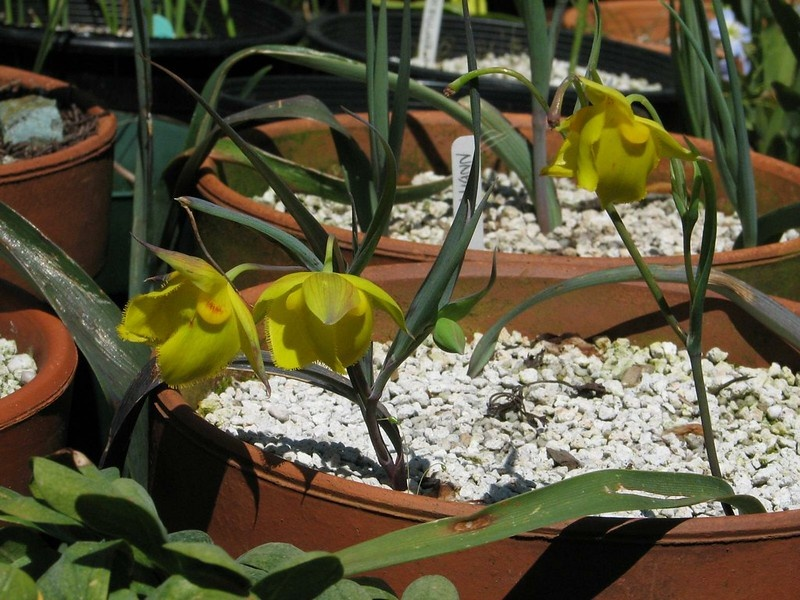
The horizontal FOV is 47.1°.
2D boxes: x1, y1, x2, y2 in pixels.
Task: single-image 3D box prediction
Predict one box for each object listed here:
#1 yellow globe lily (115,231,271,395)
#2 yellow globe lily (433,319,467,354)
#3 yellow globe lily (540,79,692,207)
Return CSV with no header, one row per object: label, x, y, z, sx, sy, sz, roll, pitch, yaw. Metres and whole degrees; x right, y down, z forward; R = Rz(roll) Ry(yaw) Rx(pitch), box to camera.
yellow globe lily,-0.177,-0.007,0.883,0.129,0.134,0.145,5,58,-28
yellow globe lily,0.052,0.038,0.980,0.031,0.042,0.039,1,26,-6
yellow globe lily,0.215,-0.156,0.893,0.131,0.119,0.079,-6,27,-19
